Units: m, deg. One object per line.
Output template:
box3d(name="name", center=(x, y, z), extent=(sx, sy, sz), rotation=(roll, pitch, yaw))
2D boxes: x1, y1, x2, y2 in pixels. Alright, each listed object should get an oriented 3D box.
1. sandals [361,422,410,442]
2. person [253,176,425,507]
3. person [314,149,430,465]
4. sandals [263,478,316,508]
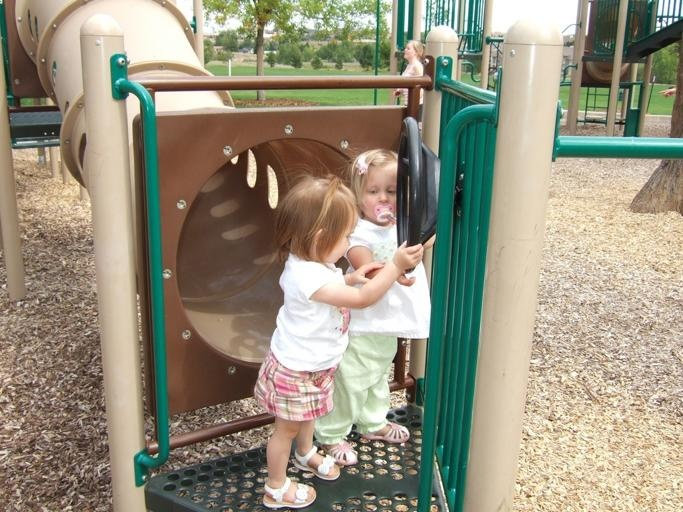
box3d(name="sandals", center=(0.182, 0.701, 2.476), extent=(0.141, 0.058, 0.083), rotation=(-2, 11, 3))
box3d(name="person", center=(-0.032, 0.233, 2.279), extent=(0.456, 1.298, 0.359), rotation=(3, 4, 32))
box3d(name="person", center=(0.105, 0.249, 2.405), extent=(0.394, 1.183, 0.422), rotation=(2, 40, 11))
box3d(name="sandals", center=(-0.180, 0.838, 2.142), extent=(0.151, 0.073, 0.092), rotation=(-1, 17, -4))
